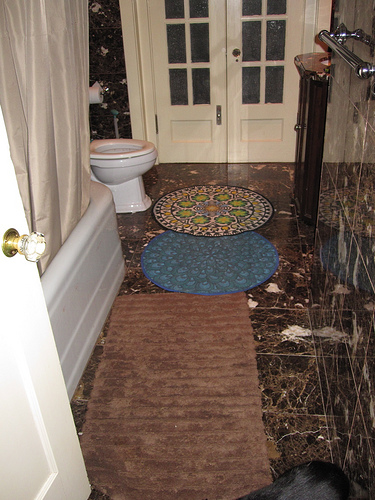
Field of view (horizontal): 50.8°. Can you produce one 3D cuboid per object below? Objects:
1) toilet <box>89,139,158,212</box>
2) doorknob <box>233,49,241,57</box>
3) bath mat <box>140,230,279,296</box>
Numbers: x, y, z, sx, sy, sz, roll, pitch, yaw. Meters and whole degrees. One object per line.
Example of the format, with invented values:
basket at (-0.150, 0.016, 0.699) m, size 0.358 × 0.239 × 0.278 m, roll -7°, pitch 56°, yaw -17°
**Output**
toilet at (-0.453, -0.515, 2.833) m, size 0.515 × 0.387 × 0.444 m, roll -4°, pitch 19°, yaw -5°
doorknob at (0.400, -1.586, 3.180) m, size 0.059 × 0.053 × 0.016 m, roll 0°, pitch 21°, yaw 7°
bath mat at (0.107, 0.068, 2.198) m, size 0.786 × 0.081 × 0.623 m, roll 2°, pitch 22°, yaw 11°
